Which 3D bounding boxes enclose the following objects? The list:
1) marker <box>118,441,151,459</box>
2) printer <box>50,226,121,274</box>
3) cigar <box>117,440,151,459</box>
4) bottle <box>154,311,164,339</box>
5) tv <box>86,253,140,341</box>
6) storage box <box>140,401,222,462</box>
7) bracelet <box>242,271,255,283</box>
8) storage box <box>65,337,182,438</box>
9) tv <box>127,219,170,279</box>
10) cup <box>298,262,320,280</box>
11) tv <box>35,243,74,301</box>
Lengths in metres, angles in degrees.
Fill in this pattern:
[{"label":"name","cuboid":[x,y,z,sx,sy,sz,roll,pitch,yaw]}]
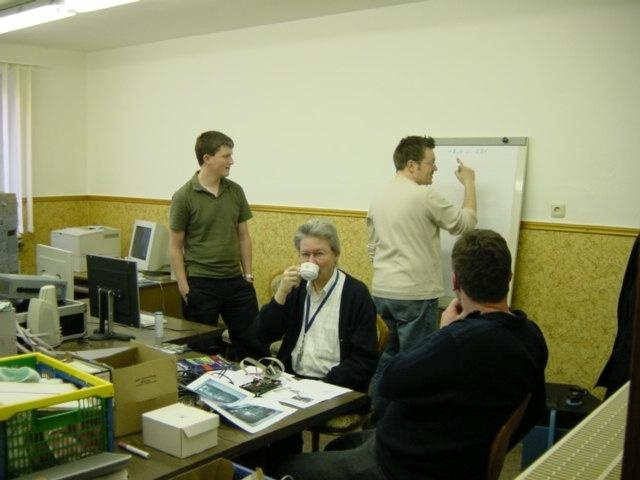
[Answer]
[{"label":"marker","cuboid":[-0.672,0.758,1.897,0.194,0.028,0.031,10,-16,42]},{"label":"printer","cuboid":[-2.336,0.013,5.173,0.679,0.509,0.714,6,5,43]},{"label":"cigar","cuboid":[-0.676,0.758,1.897,0.194,0.028,0.031,10,-16,42]},{"label":"bottle","cuboid":[-0.947,0.491,3.091,0.046,0.150,0.244,0,14,-16]},{"label":"tv","cuboid":[-1.211,0.347,3.052,0.407,0.399,0.215,9,12,33]},{"label":"storage box","cuboid":[-0.528,0.690,1.944,0.208,0.102,0.158,4,6,38]},{"label":"bracelet","cuboid":[-0.557,0.294,4.085,0.096,0.090,0.063,18,-16,-27]},{"label":"storage box","cuboid":[-0.781,0.569,2.112,0.357,0.221,0.363,4,8,36]},{"label":"tv","cuboid":[-1.534,0.089,4.725,0.524,0.524,0.294,6,2,44]},{"label":"cup","cuboid":[-0.052,0.152,2.646,0.081,0.057,0.088,4,-17,1]},{"label":"tv","cuboid":[-1.921,0.232,3.785,0.427,0.433,0.064,9,13,38]}]
